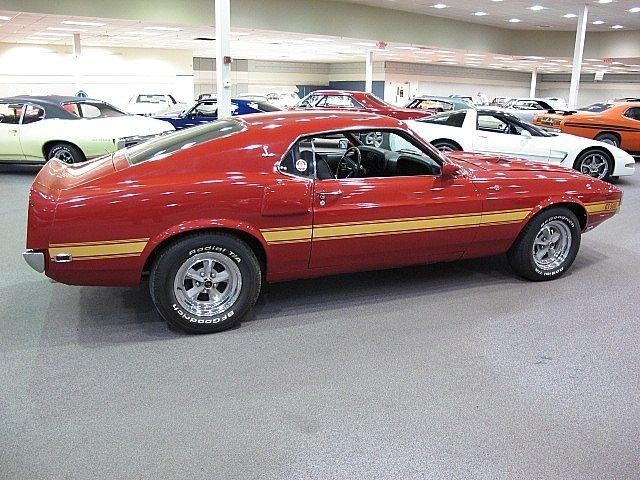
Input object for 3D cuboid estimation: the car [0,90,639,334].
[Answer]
[{"bbox_3d":[-0.312,-0.319,4.055,6.063,1.374,2.177,-5,15,-16],"label":"car"}]
